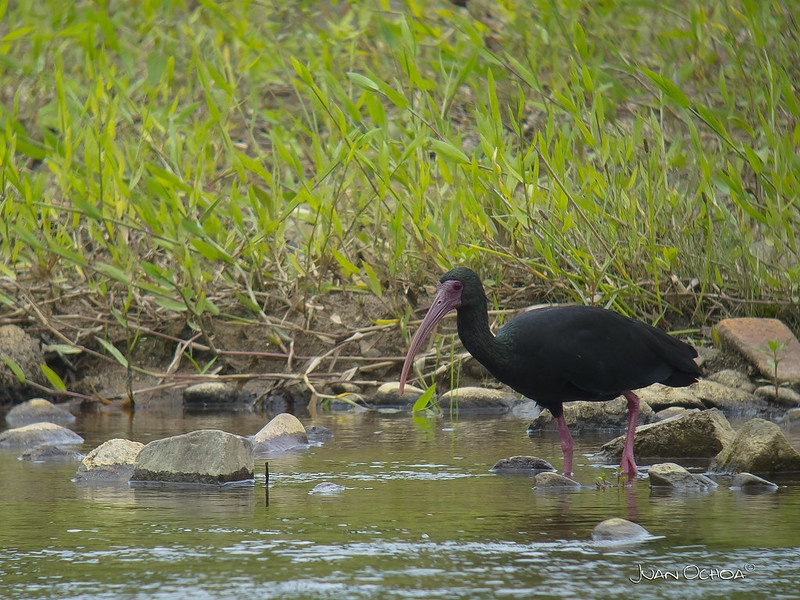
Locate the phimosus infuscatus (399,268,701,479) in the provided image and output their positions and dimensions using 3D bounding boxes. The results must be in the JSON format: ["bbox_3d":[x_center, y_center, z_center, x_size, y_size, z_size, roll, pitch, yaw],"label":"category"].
[{"bbox_3d":[0.972,0.457,6.627,2.198,1.342,0.630,-3,4,-28],"label":"phimosus infuscatus"}]
